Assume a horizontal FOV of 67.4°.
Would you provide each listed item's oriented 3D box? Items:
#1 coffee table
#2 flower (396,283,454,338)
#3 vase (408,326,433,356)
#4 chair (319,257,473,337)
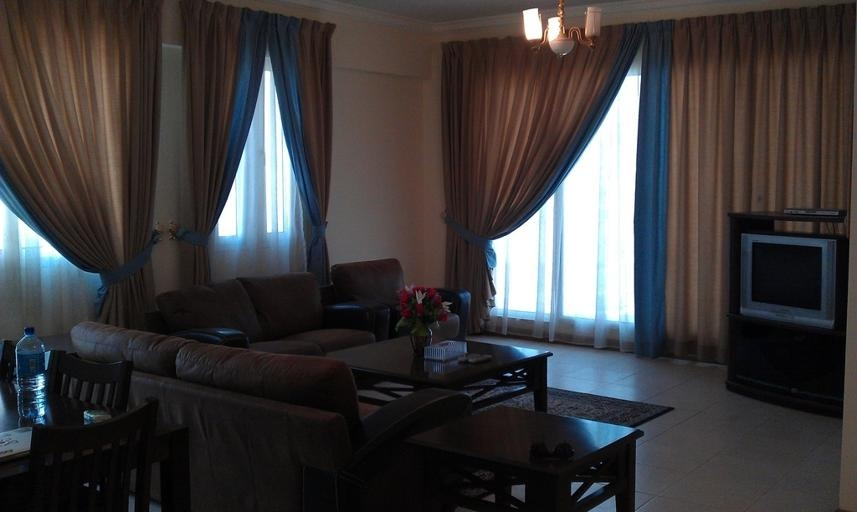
[{"bbox_3d":[0.163,0.939,5.502,1.083,0.543,1.089,2,7,32],"label":"coffee table"},{"bbox_3d":[-0.004,0.516,5.786,0.486,0.464,0.480,-2,6,-14],"label":"flower"},{"bbox_3d":[-0.051,0.755,5.687,0.226,0.241,0.216,0,-2,24],"label":"vase"},{"bbox_3d":[-0.357,0.329,7.376,0.947,0.950,1.413,-1,0,37],"label":"chair"}]
